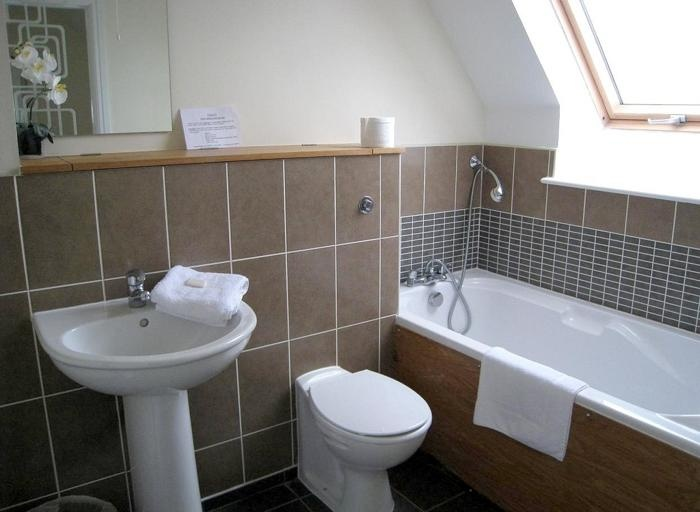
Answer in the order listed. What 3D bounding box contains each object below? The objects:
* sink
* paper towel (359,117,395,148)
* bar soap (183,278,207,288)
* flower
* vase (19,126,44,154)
[{"bbox_3d":[-0.783,0.339,1.896,0.846,0.231,0.434,0,16,6],"label":"sink"},{"bbox_3d":[0.136,-0.595,2.549,0.148,0.126,0.147,-6,12,-42],"label":"paper towel"},{"bbox_3d":[-0.602,0.108,2.022,0.047,0.012,0.047,5,20,4],"label":"bar soap"},{"bbox_3d":[-1.303,-0.707,2.185,0.144,0.331,0.211,14,20,7],"label":"flower"},{"bbox_3d":[-1.263,-0.465,2.080,0.099,0.120,0.101,-8,22,-31],"label":"vase"}]
